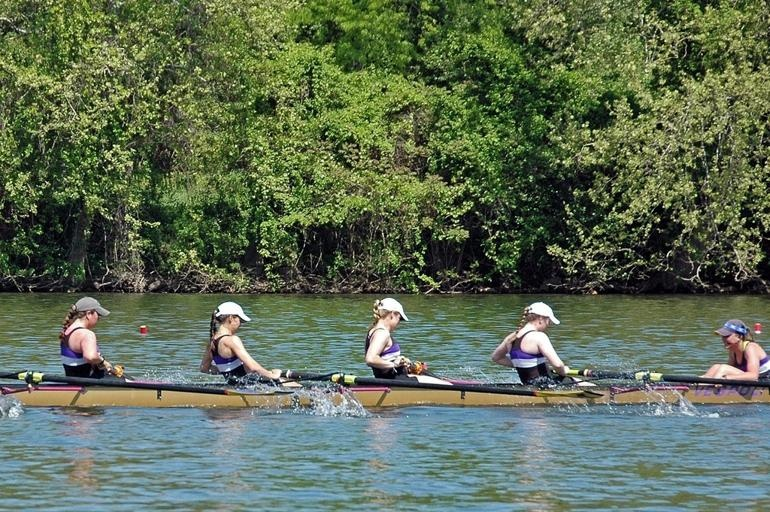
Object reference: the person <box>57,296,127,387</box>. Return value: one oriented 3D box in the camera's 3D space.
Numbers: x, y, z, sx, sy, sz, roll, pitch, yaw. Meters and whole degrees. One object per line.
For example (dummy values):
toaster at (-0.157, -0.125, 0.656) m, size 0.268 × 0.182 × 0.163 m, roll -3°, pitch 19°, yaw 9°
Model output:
person at (-7.850, 2.135, 35.516) m, size 1.390 × 2.235 × 0.910 m, roll -1°, pitch 11°, yaw -12°
